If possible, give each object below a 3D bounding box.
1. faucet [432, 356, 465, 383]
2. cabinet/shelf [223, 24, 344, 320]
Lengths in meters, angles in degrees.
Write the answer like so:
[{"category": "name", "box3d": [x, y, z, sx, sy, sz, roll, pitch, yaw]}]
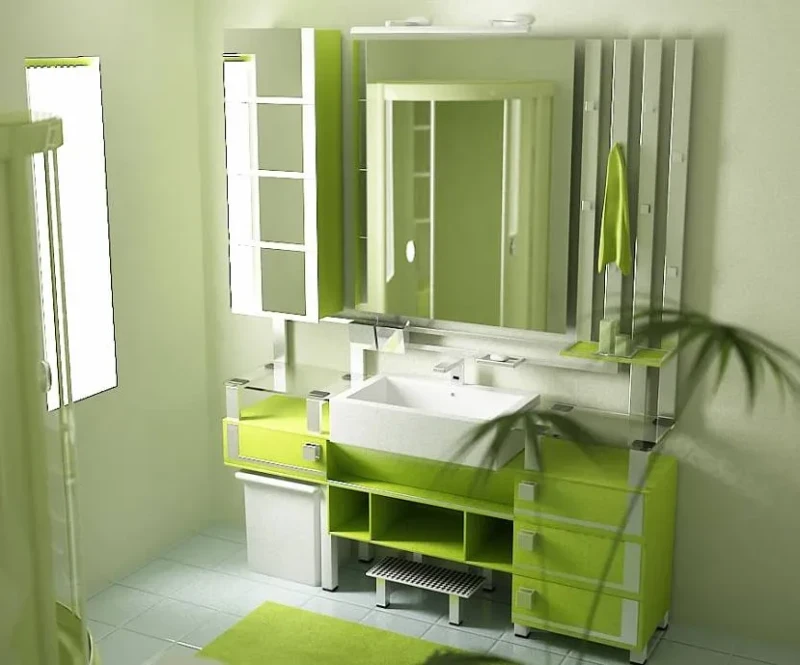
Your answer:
[{"category": "faucet", "box3d": [0.175, 0.142, 2.837, 0.066, 0.121, 0.151, 6, 14, 28]}, {"category": "cabinet/shelf", "box3d": [-0.480, -0.650, 3.205, 0.538, 1.190, 0.263, -5, 14, -12]}]
